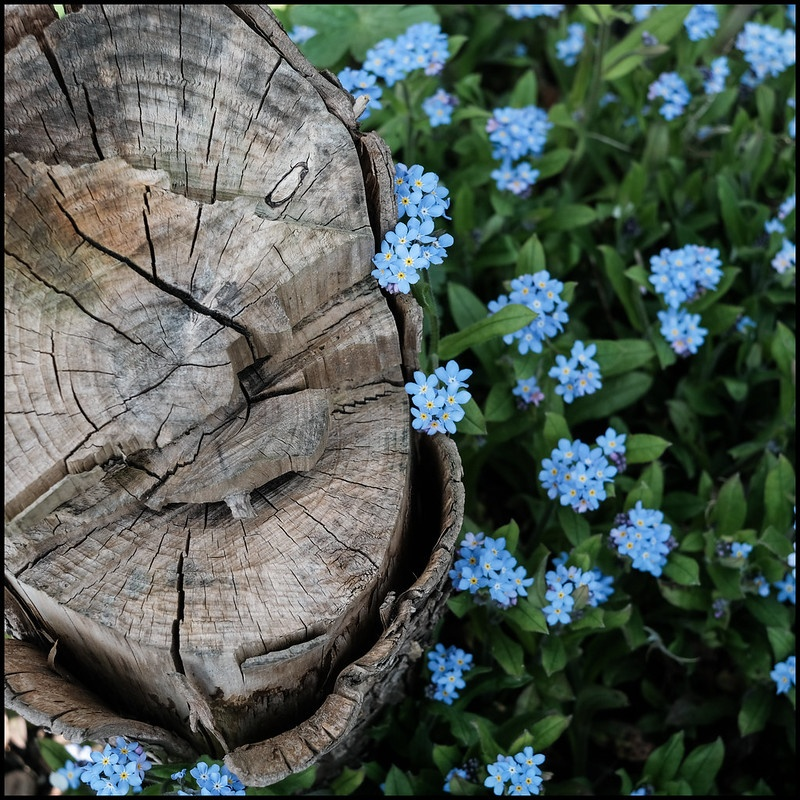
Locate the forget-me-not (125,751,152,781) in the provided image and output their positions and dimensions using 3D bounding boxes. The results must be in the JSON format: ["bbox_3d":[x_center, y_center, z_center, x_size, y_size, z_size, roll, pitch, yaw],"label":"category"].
[{"bbox_3d":[-0.659,0.923,2.150,0.019,0.069,0.061,-22,-7,25],"label":"forget-me-not"}]
